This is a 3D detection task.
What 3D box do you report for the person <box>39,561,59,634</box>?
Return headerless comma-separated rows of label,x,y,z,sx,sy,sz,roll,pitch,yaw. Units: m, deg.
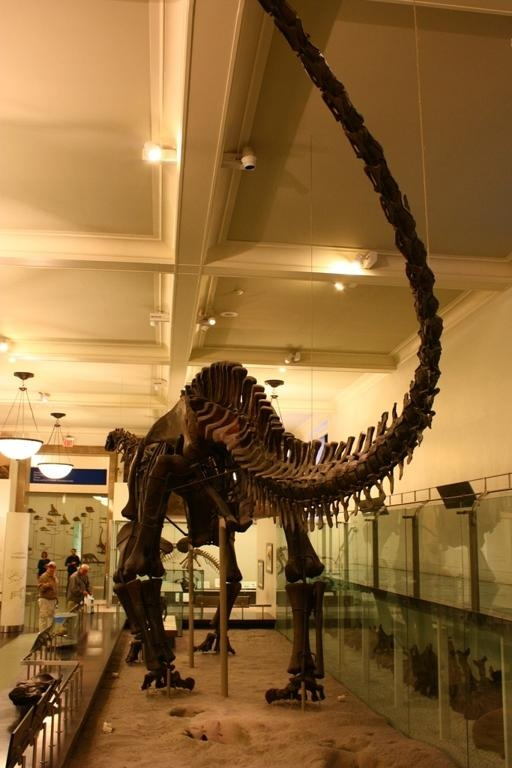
person,-3.497,3.529,9.727,0.292,1.078,0.895,3,-10,-19
